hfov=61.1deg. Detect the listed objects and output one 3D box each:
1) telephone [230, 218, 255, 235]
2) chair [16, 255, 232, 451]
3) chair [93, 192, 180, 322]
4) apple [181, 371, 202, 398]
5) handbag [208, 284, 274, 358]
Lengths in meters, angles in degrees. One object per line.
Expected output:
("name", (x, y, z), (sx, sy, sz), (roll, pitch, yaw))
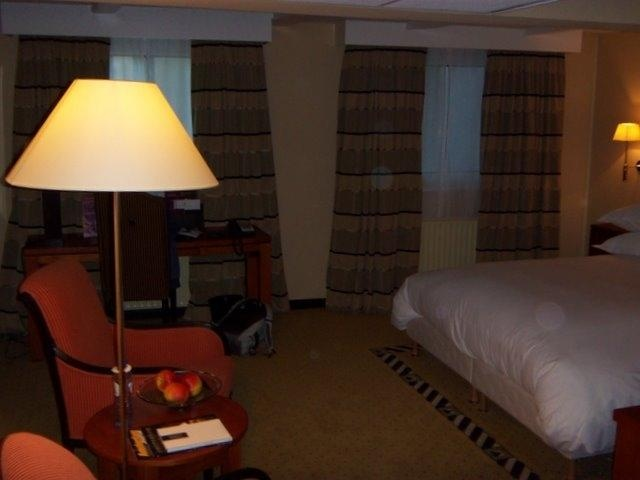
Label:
("telephone", (-0.740, -0.113, 5.090), (0.151, 0.081, 0.215), (8, 10, 31))
("chair", (-1.123, 0.742, 3.292), (1.048, 1.224, 0.853), (-2, 7, -2))
("chair", (-1.491, 0.030, 4.662), (0.520, 1.110, 0.553), (0, 7, -5))
("apple", (-0.639, 0.725, 2.771), (0.096, 0.100, 0.105), (22, 61, 29))
("handbag", (-0.660, 0.809, 4.710), (0.333, 0.214, 0.473), (0, 29, 30))
